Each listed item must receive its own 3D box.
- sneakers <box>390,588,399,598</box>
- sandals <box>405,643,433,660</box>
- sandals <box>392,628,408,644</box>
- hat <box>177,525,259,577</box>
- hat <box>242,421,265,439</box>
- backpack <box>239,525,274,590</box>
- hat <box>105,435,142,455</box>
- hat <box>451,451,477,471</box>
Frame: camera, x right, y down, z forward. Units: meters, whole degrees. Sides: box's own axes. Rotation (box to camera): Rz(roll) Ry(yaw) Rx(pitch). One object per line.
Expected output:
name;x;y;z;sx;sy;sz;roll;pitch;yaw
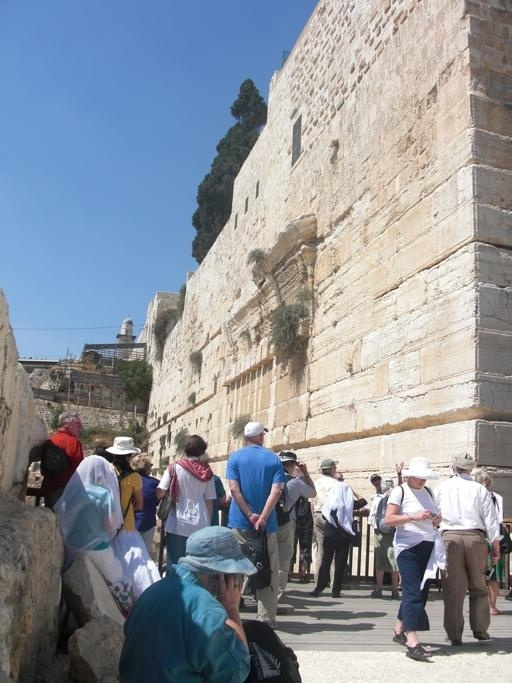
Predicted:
sneakers;1.298;2.359;4.784;0.051;0.069;0.166;-3;-33;7
sandals;0.915;1.727;2.880;0.068;0.091;0.195;2;-22;-15
sandals;0.899;1.841;3.186;0.042;0.061;0.134;1;-19;-4
hat;-0.128;0.679;1.664;0.251;0.142;0.224;1;-16;-6
hat;0.006;0.646;3.732;0.122;0.104;0.190;3;17;26
backpack;-0.008;1.418;3.196;0.138;0.272;0.172;9;-41;-21
hat;-0.932;0.754;3.705;0.169;0.074;0.193;6;-12;19
hat;1.442;0.828;3.563;0.115;0.066;0.146;8;-19;9
